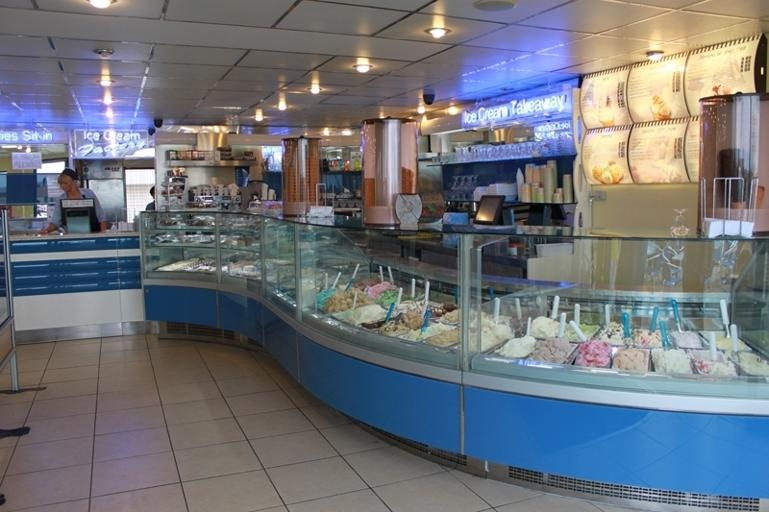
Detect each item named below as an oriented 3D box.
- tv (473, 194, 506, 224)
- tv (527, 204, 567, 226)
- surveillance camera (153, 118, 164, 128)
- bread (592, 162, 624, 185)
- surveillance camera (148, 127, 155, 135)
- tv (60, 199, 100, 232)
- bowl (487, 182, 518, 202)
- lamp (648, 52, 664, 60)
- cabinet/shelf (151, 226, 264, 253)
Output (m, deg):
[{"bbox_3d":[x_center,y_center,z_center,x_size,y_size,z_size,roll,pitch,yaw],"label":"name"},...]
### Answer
[{"bbox_3d":[1.409,-0.615,7.077,0.361,0.376,0.619,1,11,12],"label":"tv"},{"bbox_3d":[2.339,-0.593,7.563,0.424,0.352,0.418,-5,10,-33],"label":"tv"},{"bbox_3d":[-4.548,-2.657,10.475,0.194,0.120,0.179,1,4,0],"label":"surveillance camera"},{"bbox_3d":[2.803,-1.040,6.545,0.088,0.272,0.413,-8,13,-27],"label":"bread"},{"bbox_3d":[-4.950,-2.635,11.108,0.166,0.132,0.038,3,20,-2],"label":"surveillance camera"},{"bbox_3d":[-4.166,-0.524,7.101,0.499,0.599,0.497,0,3,43],"label":"tv"},{"bbox_3d":[1.804,-0.961,8.180,0.426,0.268,0.402,0,5,0],"label":"bowl"},{"bbox_3d":[3.093,-2.281,5.968,0.146,0.054,0.219,4,12,26],"label":"lamp"},{"bbox_3d":[-2.235,-0.186,6.503,1.908,0.325,0.243,5,13,32],"label":"cabinet/shelf"}]
